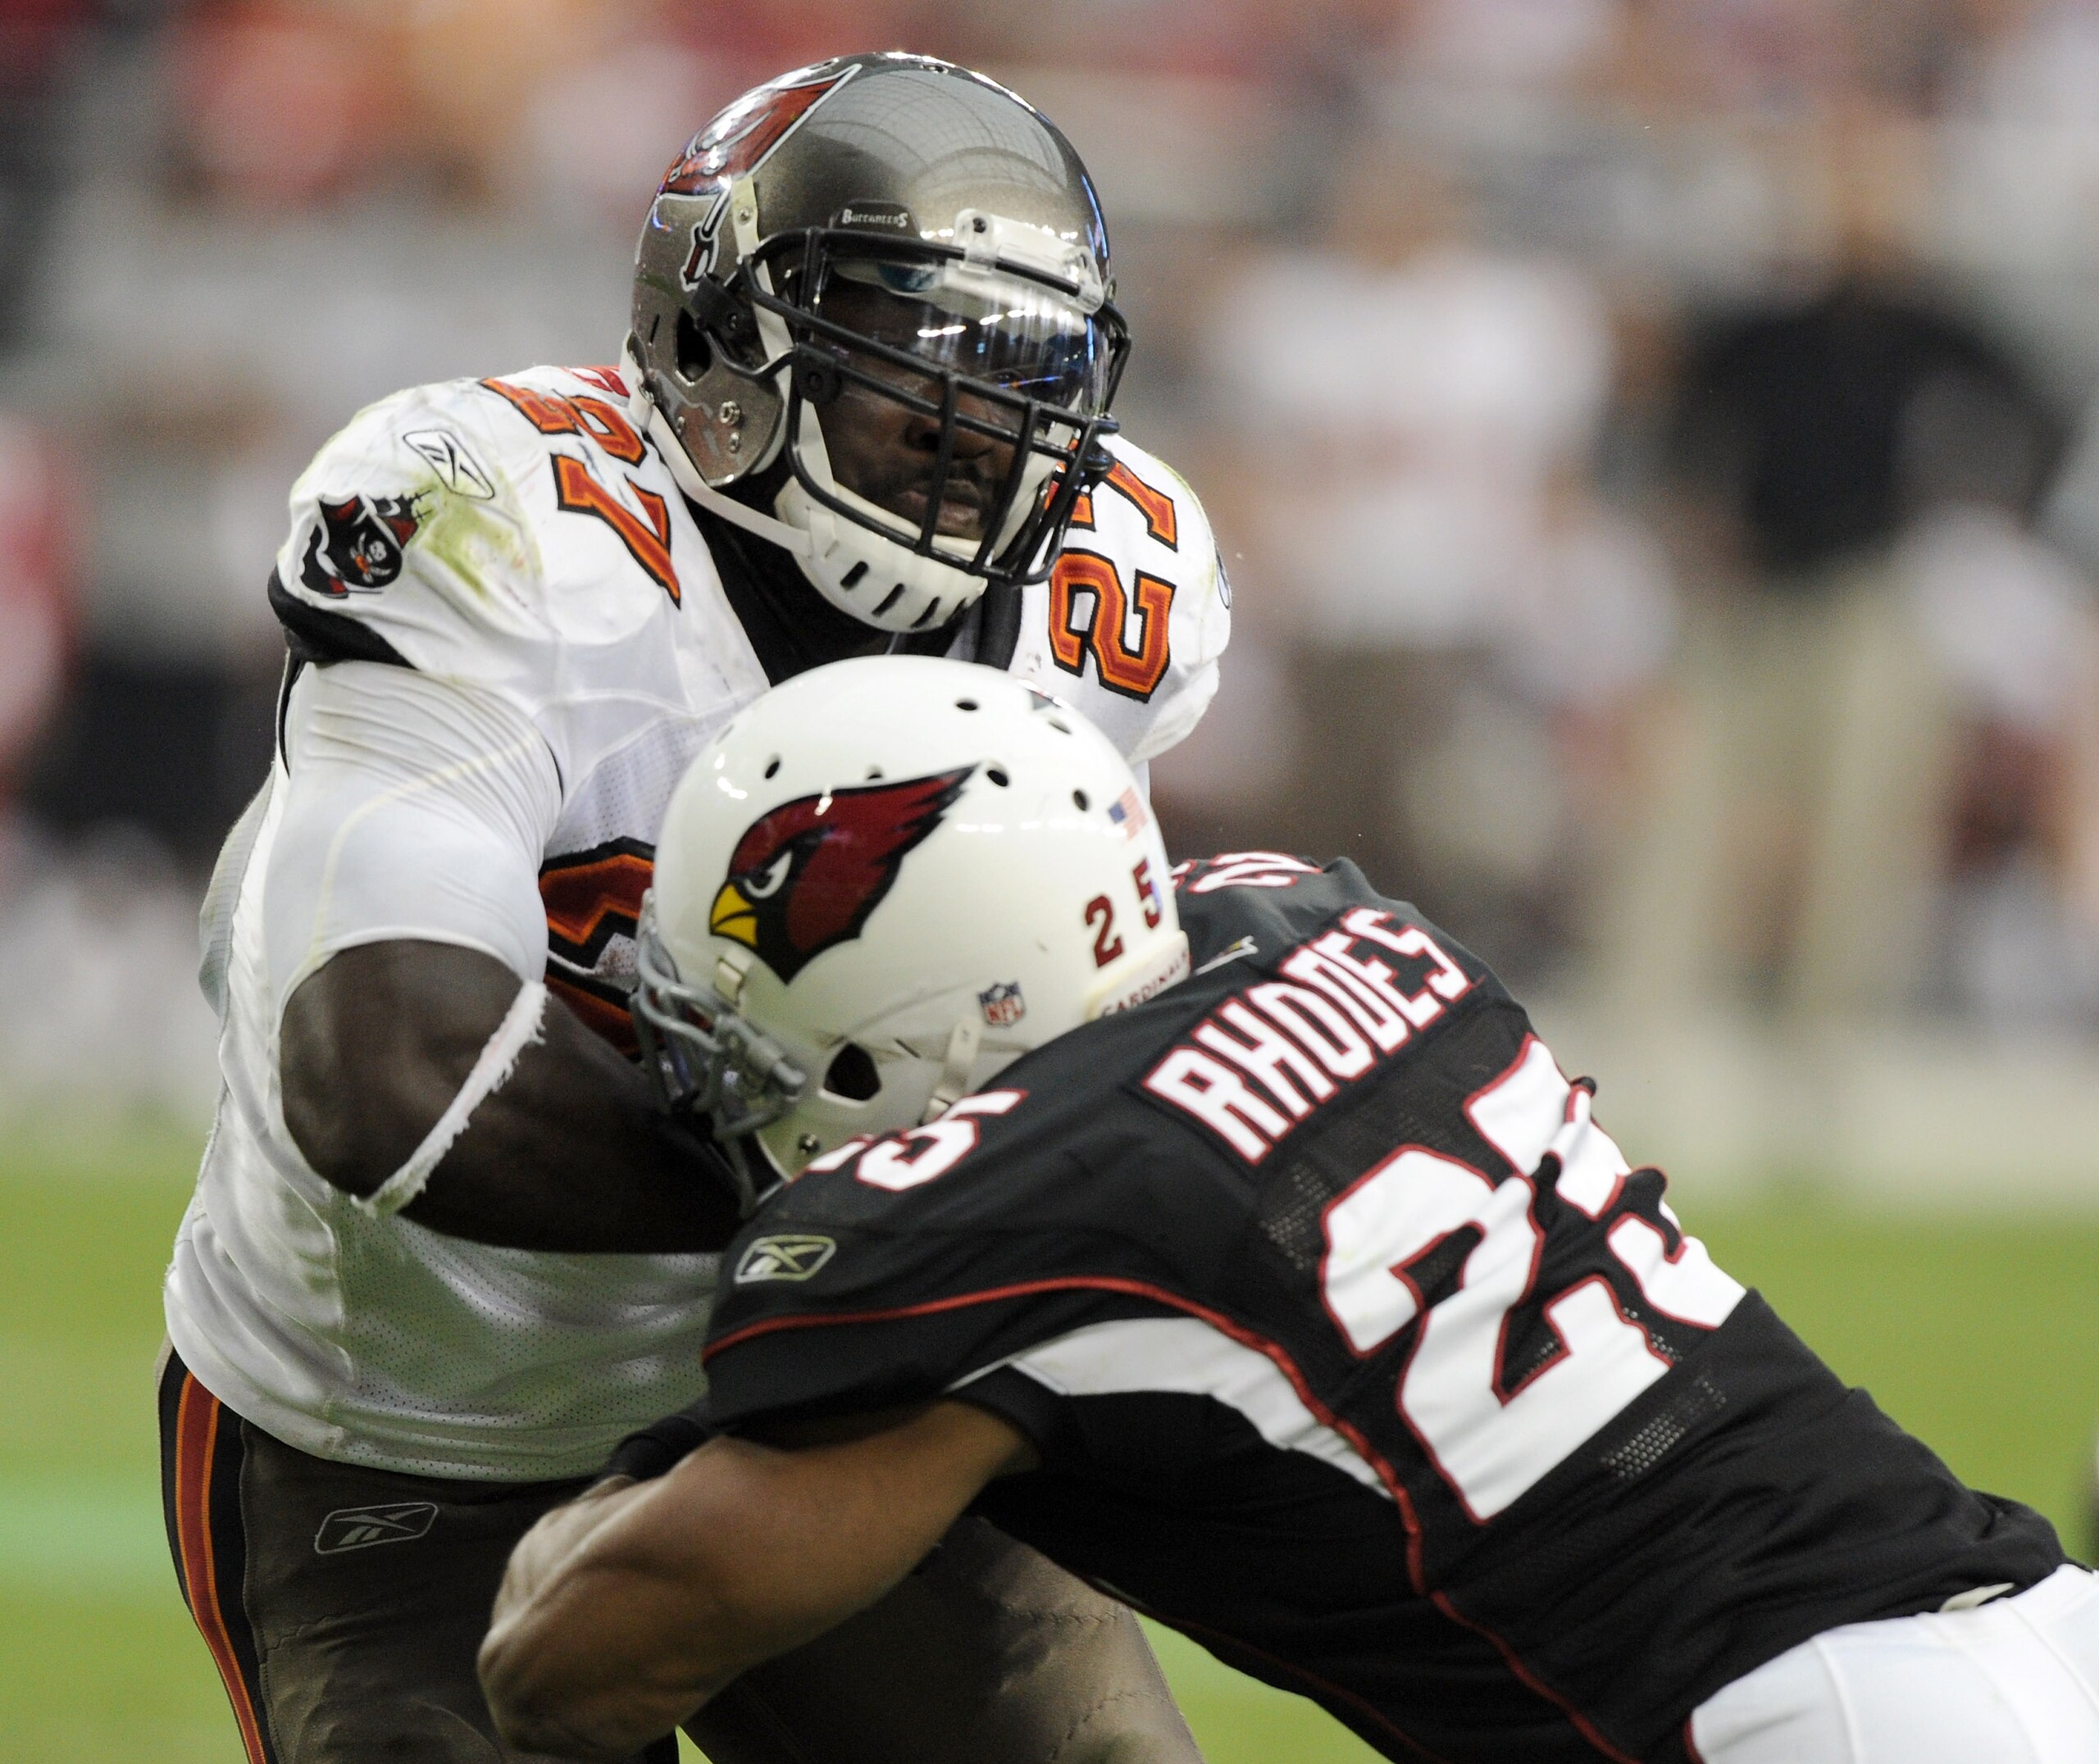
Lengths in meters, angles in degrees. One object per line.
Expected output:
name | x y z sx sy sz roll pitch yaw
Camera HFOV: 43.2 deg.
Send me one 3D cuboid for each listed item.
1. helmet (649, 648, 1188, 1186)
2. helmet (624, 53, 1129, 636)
helmet | -0.096 0.009 1.846 0.412 0.308 0.306 4 13 23
helmet | -0.107 -0.427 2.260 0.389 0.419 0.475 8 -1 -38
